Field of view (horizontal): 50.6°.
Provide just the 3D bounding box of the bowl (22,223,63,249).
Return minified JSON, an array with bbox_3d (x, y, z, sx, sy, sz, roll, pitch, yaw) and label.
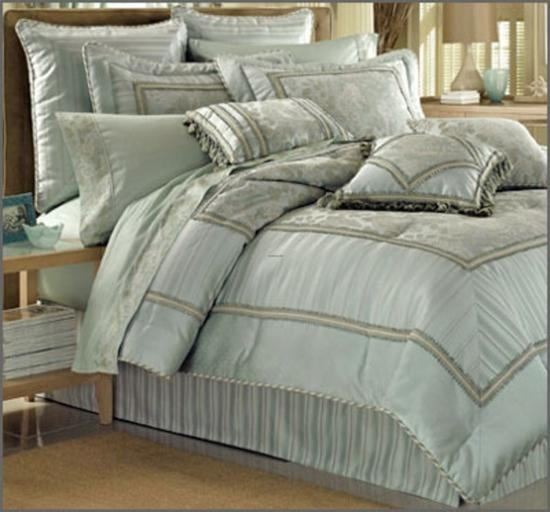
[{"bbox_3d":[-0.816,-0.066,2.048,0.106,0.071,0.100,-1,4,0],"label":"bowl"}]
